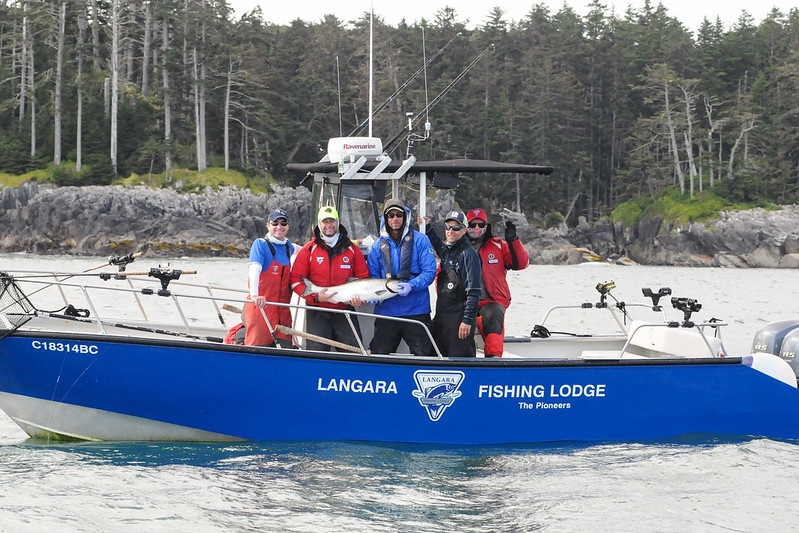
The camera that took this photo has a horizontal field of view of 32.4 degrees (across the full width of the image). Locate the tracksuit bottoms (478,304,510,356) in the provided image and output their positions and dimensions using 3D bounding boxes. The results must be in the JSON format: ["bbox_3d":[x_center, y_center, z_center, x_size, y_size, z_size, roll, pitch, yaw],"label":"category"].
[{"bbox_3d":[4.120,2.853,62.061,1.159,2.489,0.492,1,5,2],"label":"tracksuit bottoms"}]

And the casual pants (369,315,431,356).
[{"bbox_3d":[0.063,3.100,61.547,2.201,1.613,0.688,0,-7,3],"label":"casual pants"}]
